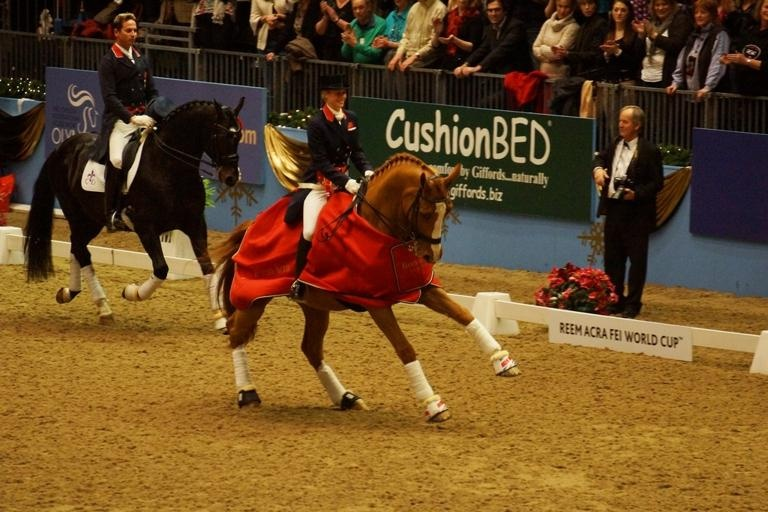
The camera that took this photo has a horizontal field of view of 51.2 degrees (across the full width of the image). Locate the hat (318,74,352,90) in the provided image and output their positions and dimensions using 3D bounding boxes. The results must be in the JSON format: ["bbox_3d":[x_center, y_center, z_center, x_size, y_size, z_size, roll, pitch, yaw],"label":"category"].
[{"bbox_3d":[-0.533,-1.847,8.473,0.259,0.140,0.386,-2,13,-7],"label":"hat"}]

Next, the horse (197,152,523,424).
[{"bbox_3d":[-0.398,0.361,8.626,1.381,2.570,4.379,1,-3,-40],"label":"horse"}]

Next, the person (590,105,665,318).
[{"bbox_3d":[3.389,-0.616,11.293,0.916,2.943,0.620,5,16,17],"label":"person"}]
